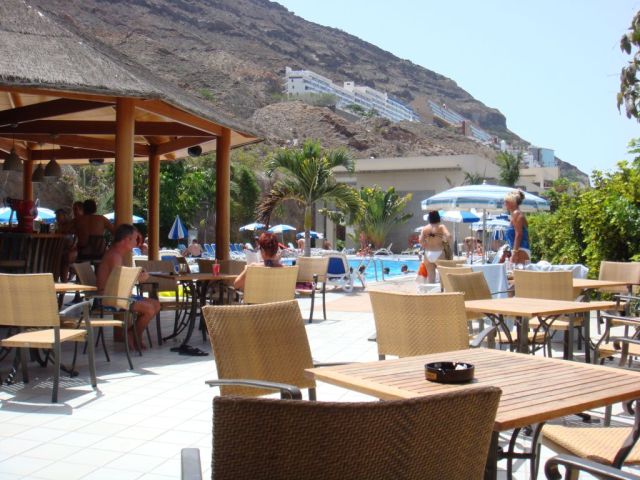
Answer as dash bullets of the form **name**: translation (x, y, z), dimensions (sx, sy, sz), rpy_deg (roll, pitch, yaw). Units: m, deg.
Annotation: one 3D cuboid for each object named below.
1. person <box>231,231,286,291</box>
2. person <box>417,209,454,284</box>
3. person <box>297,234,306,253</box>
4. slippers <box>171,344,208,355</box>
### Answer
- **person**: translation (-0.613, 0.229, 6.817), dimensions (0.600, 0.970, 0.681), rpy_deg (0, 5, 3)
- **person**: translation (2.027, 0.208, 10.238), dimensions (0.536, 1.537, 0.507), rpy_deg (-2, 18, 17)
- **person**: translation (-0.879, 0.120, 26.997), dimensions (0.347, 1.147, 0.315), rpy_deg (9, -28, -16)
- **slippers**: translation (-1.586, 1.330, 7.091), dimensions (0.456, 0.105, 0.168), rpy_deg (0, -1, 15)
